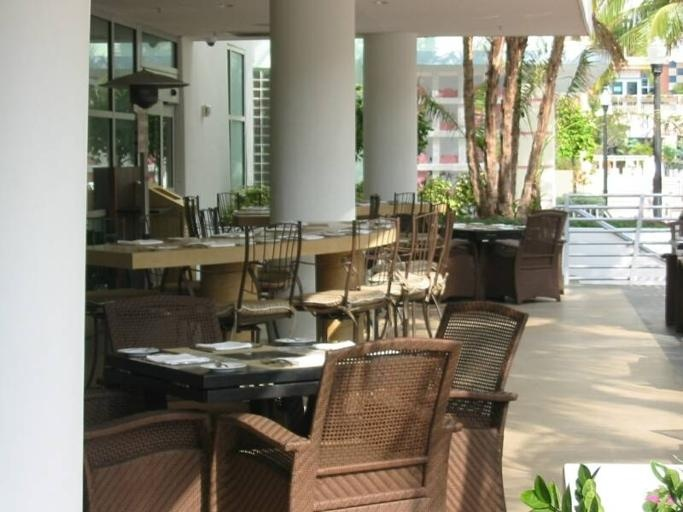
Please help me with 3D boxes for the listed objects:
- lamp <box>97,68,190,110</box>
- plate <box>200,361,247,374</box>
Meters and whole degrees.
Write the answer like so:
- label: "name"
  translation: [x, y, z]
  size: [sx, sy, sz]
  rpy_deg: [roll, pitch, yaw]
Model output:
- label: "lamp"
  translation: [-2.525, -2.101, 8.787]
  size: [1.031, 0.551, 1.131]
  rpy_deg: [1, 12, 12]
- label: "plate"
  translation: [-0.453, 0.417, 2.627]
  size: [0.180, 0.023, 0.199]
  rpy_deg: [-1, 6, -8]
